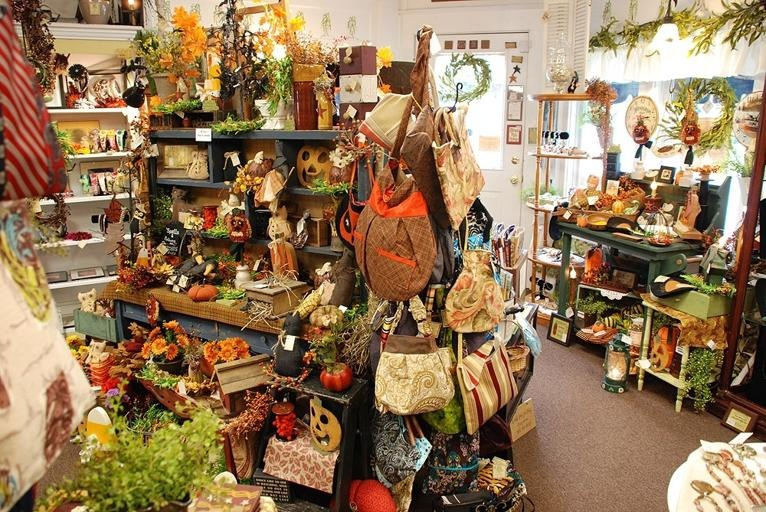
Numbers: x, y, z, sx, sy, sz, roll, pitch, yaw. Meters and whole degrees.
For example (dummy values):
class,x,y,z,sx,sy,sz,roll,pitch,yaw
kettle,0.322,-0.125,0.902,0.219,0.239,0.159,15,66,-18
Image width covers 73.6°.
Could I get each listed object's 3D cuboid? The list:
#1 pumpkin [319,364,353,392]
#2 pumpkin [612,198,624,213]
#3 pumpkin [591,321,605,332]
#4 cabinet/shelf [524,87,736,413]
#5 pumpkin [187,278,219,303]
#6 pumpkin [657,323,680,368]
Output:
class,x,y,z,sx,sy,sz,roll,pitch,yaw
pumpkin,-0.275,0.707,2.993,0.147,0.142,0.147,-1,-6,4
pumpkin,2.205,-0.473,4.807,0.110,0.129,0.111,12,22,37
pumpkin,2.071,0.684,4.929,0.088,0.086,0.088,-21,3,-19
cabinet/shelf,2.416,-0.066,4.631,0.890,2.194,1.822,-8,18,-19
pumpkin,-1.375,0.262,3.926,0.156,0.151,0.157,-1,7,-17
pumpkin,2.295,0.746,4.247,0.149,0.315,0.186,4,33,10
